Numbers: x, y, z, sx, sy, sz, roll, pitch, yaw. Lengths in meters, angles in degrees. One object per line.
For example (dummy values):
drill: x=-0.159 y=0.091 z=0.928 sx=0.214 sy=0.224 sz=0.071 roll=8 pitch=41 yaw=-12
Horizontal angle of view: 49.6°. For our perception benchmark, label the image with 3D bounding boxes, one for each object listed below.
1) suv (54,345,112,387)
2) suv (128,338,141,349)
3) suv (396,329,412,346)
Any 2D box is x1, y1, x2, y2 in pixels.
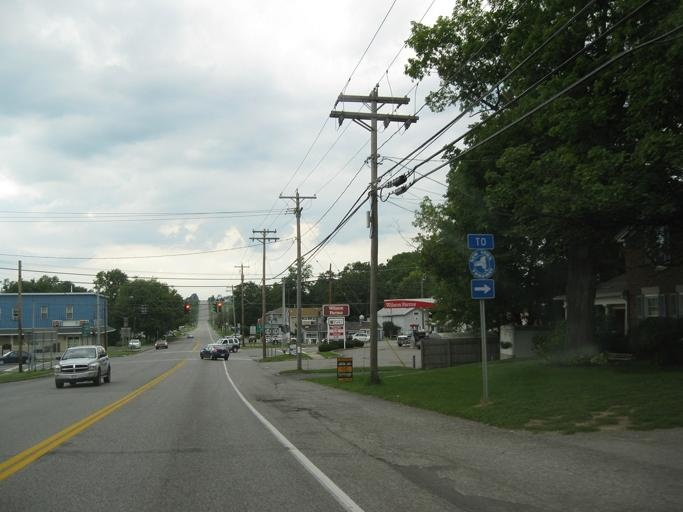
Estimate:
suv: x=-11.480 y=4.875 z=32.881 sx=1.959 sy=1.887 sz=2.552 roll=-1 pitch=-9 yaw=-8
suv: x=-27.753 y=11.726 z=99.022 sx=1.328 sy=1.126 sz=2.295 roll=3 pitch=-14 yaw=-27
suv: x=7.252 y=9.404 z=85.428 sx=1.556 sy=1.170 sz=2.413 roll=-1 pitch=-11 yaw=9
